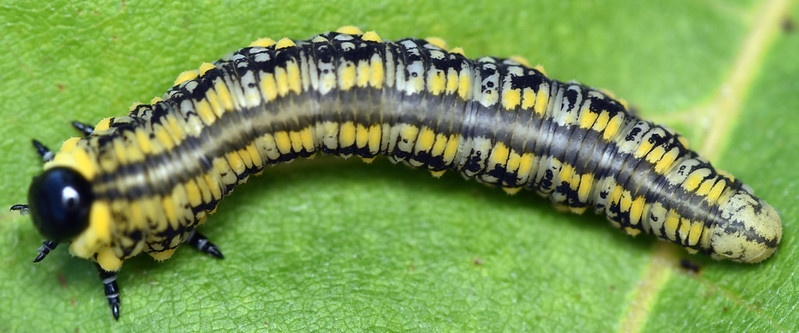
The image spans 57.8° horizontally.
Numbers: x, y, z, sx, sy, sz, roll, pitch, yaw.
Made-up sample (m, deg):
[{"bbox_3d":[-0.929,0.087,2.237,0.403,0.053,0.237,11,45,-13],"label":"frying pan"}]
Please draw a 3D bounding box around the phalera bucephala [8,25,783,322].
[{"bbox_3d":[-0.129,-0.161,7.948,7.307,1.185,2.227,1,64,-3],"label":"phalera bucephala"}]
